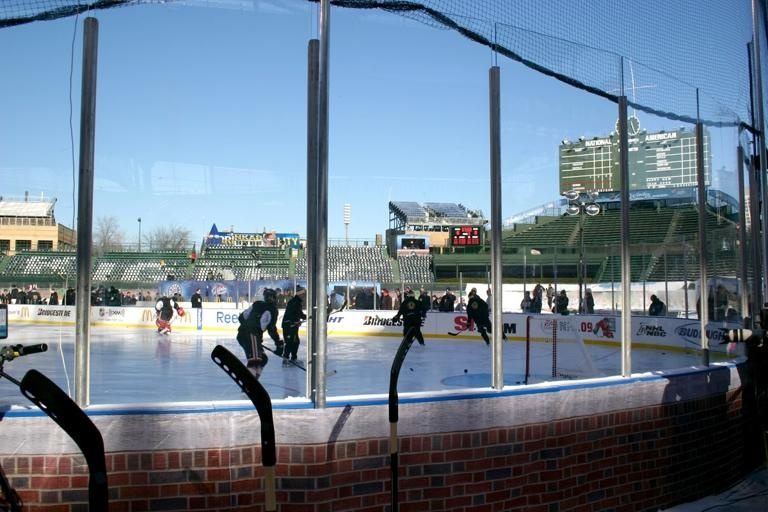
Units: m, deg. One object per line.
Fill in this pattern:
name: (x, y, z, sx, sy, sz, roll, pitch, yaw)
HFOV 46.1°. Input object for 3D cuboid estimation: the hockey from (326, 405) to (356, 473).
hockey: (-0.559, 2.278, 11.327, 0.225, 0.784, 0.254, 6, -1, 21)
